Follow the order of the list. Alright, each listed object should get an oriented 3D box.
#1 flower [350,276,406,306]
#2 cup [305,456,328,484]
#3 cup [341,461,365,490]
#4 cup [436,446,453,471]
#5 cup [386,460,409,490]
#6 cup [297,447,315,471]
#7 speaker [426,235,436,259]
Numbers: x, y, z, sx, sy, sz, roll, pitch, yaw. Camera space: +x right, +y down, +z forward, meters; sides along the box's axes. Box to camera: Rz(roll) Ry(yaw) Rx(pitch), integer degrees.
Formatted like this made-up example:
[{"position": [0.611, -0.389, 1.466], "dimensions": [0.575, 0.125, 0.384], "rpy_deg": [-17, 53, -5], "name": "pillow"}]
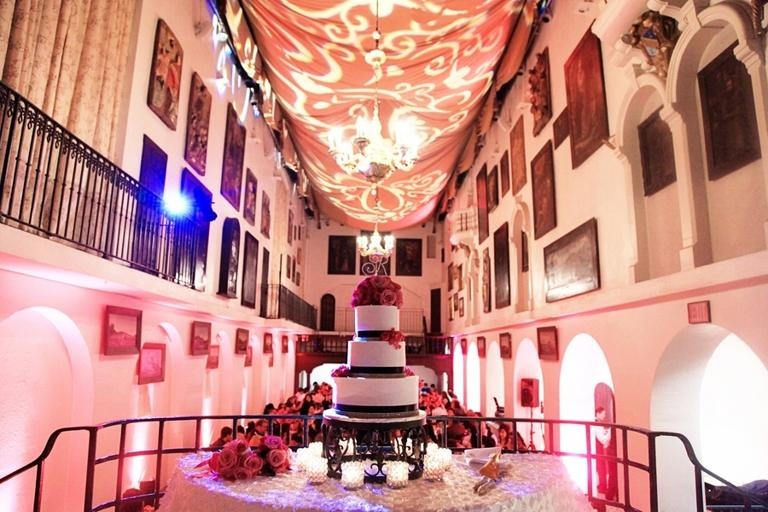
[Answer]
[{"position": [-0.099, 0.489, 6.617], "dimensions": [0.461, 0.468, 0.470], "rpy_deg": [9, 5, 8], "name": "flower"}, {"position": [-0.798, 2.507, 5.945], "dimensions": [0.251, 0.256, 0.254], "rpy_deg": [-1, -12, 0], "name": "cup"}, {"position": [-0.363, 2.521, 5.833], "dimensions": [0.247, 0.230, 0.257], "rpy_deg": [0, -12, 0], "name": "cup"}, {"position": [0.732, 2.469, 6.163], "dimensions": [0.201, 0.237, 0.235], "rpy_deg": [1, -19, -3], "name": "cup"}, {"position": [0.149, 2.537, 5.864], "dimensions": [0.249, 0.232, 0.260], "rpy_deg": [2, -11, 0], "name": "cup"}, {"position": [-0.996, 2.490, 6.196], "dimensions": [0.218, 0.284, 0.273], "rpy_deg": [1, -9, 4], "name": "cup"}, {"position": [2.754, -0.451, 29.794], "dimensions": [0.623, 1.251, 0.406], "rpy_deg": [1, 5, 3], "name": "speaker"}]
